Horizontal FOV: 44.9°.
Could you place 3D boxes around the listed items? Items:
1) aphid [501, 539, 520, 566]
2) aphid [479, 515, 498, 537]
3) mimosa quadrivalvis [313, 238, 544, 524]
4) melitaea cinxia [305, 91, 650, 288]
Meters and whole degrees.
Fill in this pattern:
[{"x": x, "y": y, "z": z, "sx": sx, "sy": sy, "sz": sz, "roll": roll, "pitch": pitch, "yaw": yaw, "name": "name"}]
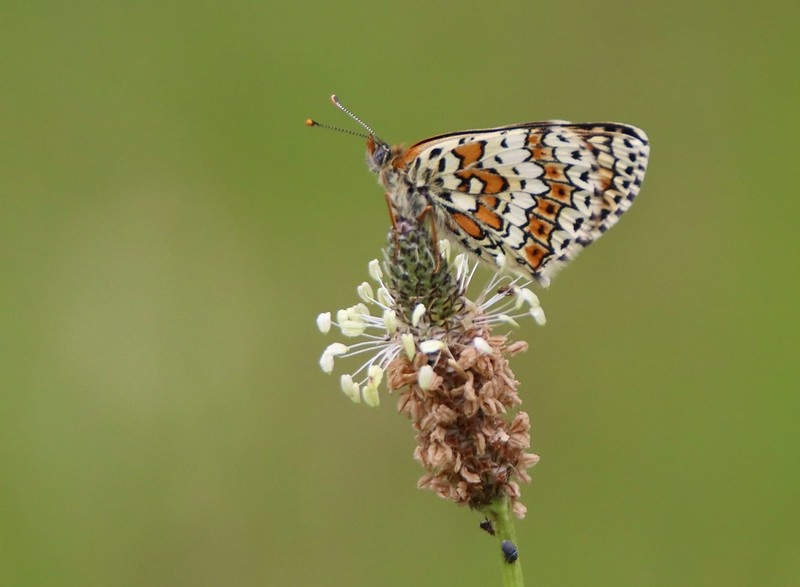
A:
[{"x": 0.961, "y": 2.263, "z": 8.444, "sx": 0.044, "sy": 0.159, "sz": 0.194, "roll": -10, "pitch": -99, "yaw": 40, "name": "aphid"}, {"x": 0.823, "y": 2.074, "z": 8.671, "sx": 0.154, "sy": 0.078, "sz": 0.200, "roll": -17, "pitch": -79, "yaw": 41, "name": "aphid"}, {"x": 0.342, "y": 0.754, "z": 8.801, "sx": 1.475, "sy": 1.767, "sz": 2.686, "roll": -13, "pitch": -85, "yaw": 22, "name": "mimosa quadrivalvis"}, {"x": 0.732, "y": -1.225, "z": 9.308, "sx": 2.822, "sy": 1.230, "sz": 1.896, "roll": 6, "pitch": -53, "yaw": -5, "name": "melitaea cinxia"}]
